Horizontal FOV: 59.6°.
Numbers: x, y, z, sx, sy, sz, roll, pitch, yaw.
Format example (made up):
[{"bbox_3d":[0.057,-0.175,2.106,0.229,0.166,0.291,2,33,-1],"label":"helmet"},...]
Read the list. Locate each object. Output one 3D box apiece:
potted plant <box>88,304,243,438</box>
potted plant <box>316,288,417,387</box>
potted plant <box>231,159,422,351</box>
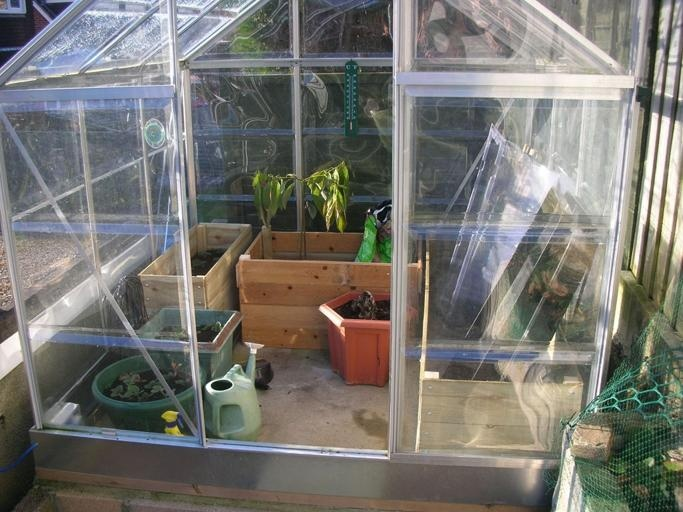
[{"bbox_3d":[-0.716,0.383,2.612,0.390,0.232,0.582,5,30,10],"label":"potted plant"},{"bbox_3d":[0.075,0.410,3.131,0.361,0.418,0.468,-1,23,2],"label":"potted plant"},{"bbox_3d":[-0.194,-0.077,3.362,0.949,0.625,0.989,3,23,2],"label":"potted plant"}]
